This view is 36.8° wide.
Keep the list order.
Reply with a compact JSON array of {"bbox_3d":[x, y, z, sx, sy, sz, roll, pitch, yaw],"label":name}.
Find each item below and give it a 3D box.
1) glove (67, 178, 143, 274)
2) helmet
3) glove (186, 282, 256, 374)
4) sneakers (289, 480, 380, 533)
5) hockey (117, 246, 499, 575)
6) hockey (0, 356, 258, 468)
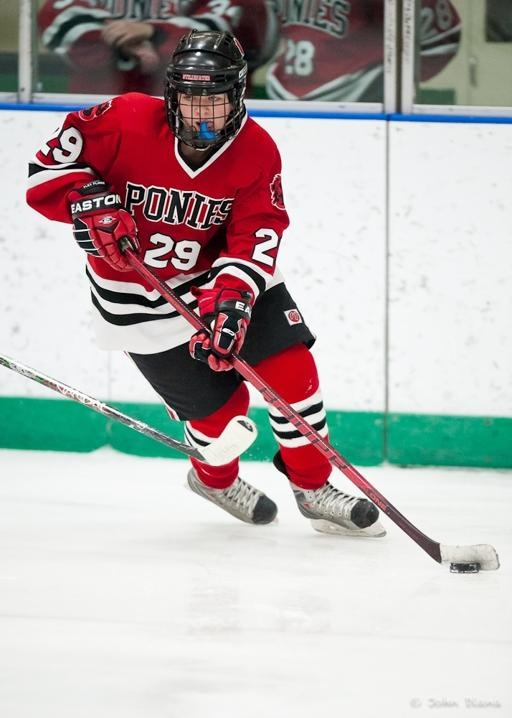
[{"bbox_3d":[-0.304,-0.291,1.673,0.151,0.184,0.071,-15,16,21],"label":"glove"},{"bbox_3d":[-0.102,-0.548,1.554,0.163,0.252,0.126,1,6,-4],"label":"helmet"},{"bbox_3d":[-0.076,-0.070,1.622,0.135,0.185,0.087,5,-17,-24],"label":"glove"},{"bbox_3d":[0.180,0.352,1.815,0.225,0.175,0.068,-5,37,36],"label":"sneakers"},{"bbox_3d":[0.174,0.114,2.036,1.214,0.165,0.186,34,-10,18],"label":"hockey"},{"bbox_3d":[-0.370,0.148,2.242,0.673,0.067,0.098,26,38,18],"label":"hockey"}]
